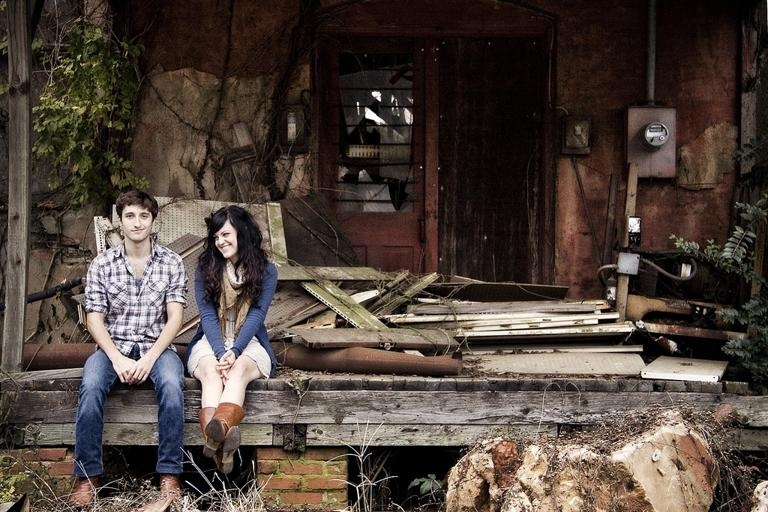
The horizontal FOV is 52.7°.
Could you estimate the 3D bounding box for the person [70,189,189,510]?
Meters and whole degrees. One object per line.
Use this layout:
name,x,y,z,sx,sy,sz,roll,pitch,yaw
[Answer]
person,-2.203,0.750,6.710,0.916,2.679,0.506,0,-1,-12

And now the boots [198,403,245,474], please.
boots,-1.360,1.443,6.464,0.235,0.745,0.311,4,2,-8

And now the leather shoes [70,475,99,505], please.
leather shoes,-2.542,1.977,6.572,0.214,0.220,0.223,0,-1,-21
